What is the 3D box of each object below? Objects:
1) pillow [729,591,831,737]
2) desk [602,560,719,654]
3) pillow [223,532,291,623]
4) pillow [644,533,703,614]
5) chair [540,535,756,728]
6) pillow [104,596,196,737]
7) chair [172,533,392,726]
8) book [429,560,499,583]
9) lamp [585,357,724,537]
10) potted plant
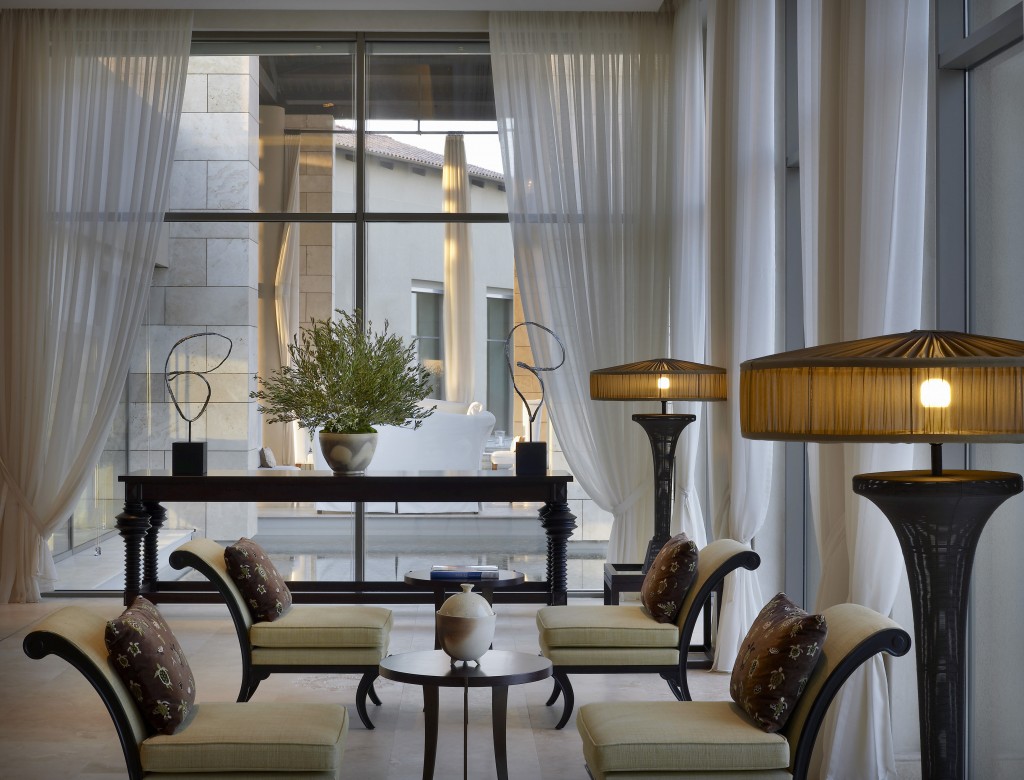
[{"bbox_3d":[1.132,1.176,6.182,0.277,0.540,0.568,4,7,-7],"label":"pillow"},{"bbox_3d":[0.872,1.249,8.298,0.640,0.414,0.430,19,37,-1],"label":"desk"},{"bbox_3d":[-1.309,1.012,7.424,0.250,0.439,0.487,-9,-10,9],"label":"pillow"},{"bbox_3d":[0.797,1.000,7.468,0.249,0.468,0.553,0,-9,-11],"label":"pillow"},{"bbox_3d":[0.700,1.140,7.546,1.067,0.941,0.817,1,15,1],"label":"chair"},{"bbox_3d":[-1.561,1.187,6.202,0.276,0.517,0.596,-4,7,-2],"label":"pillow"},{"bbox_3d":[-1.240,1.040,7.559,1.226,1.008,1.005,7,26,-1],"label":"chair"},{"bbox_3d":[-0.251,0.992,7.594,0.373,0.083,0.172,2,0,-2],"label":"book"},{"bbox_3d":[0.873,0.494,8.051,0.718,1.402,0.788,-1,2,17],"label":"lamp"},{"bbox_3d":[-1.012,0.051,8.594,0.902,0.907,0.846,-1,3,-30],"label":"potted plant"}]
